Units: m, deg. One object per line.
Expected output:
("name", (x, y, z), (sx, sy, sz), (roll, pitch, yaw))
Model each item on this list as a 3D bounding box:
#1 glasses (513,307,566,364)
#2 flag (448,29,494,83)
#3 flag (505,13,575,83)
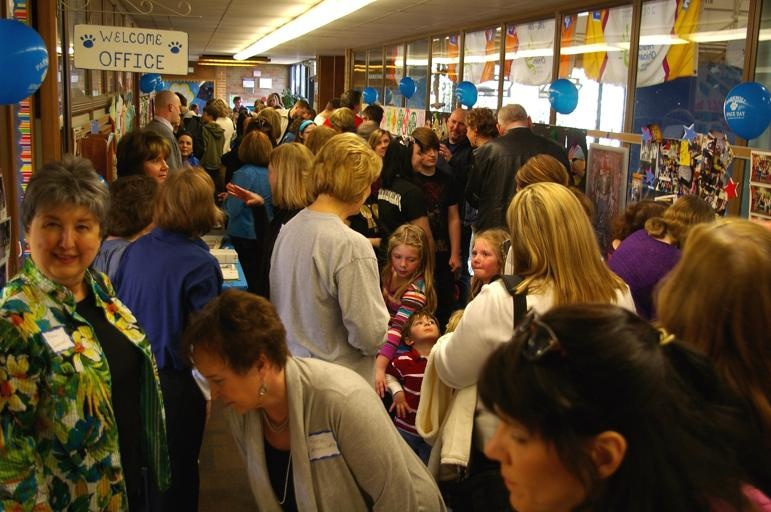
("glasses", (0.342, 0.181, 1.355), (0.057, 0.108, 0.083), (-37, 13, -12))
("flag", (1.441, -3.149, 9.419), (0.078, 0.858, 1.206), (-7, 19, -23))
("flag", (1.945, -2.705, 7.800), (0.066, 0.812, 1.203), (-4, 19, -23))
